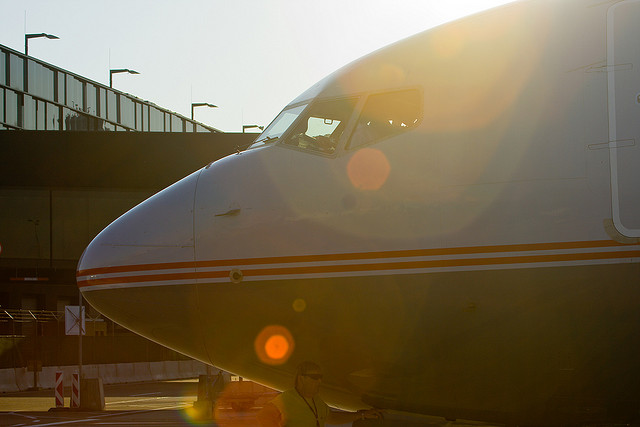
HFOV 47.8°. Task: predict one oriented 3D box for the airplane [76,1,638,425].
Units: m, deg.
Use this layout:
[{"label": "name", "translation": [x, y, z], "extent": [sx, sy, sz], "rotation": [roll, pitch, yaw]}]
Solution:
[{"label": "airplane", "translation": [0.639, 0.543, 10.183], "extent": [7.931, 4.674, 3.018], "rotation": [-14, -36, 17]}]
